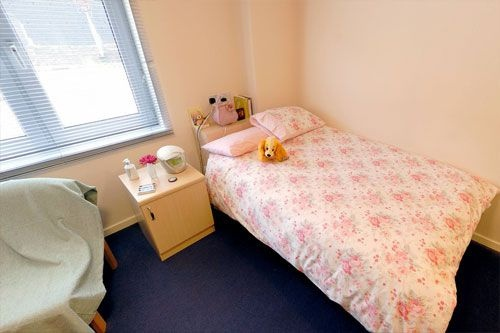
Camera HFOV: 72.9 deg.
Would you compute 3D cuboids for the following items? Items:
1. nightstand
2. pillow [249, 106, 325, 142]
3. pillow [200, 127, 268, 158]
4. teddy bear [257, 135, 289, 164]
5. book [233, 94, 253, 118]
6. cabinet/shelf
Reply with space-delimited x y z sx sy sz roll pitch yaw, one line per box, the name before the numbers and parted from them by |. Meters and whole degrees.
nightstand | -0.807 0.430 3.399 0.706 0.657 0.693 -22 25 -23
pillow | 0.430 -0.498 3.587 0.564 0.152 0.438 -19 43 -33
pillow | -0.079 -0.256 3.383 0.502 0.118 0.310 -22 32 -38
teddy bear | 0.203 -0.150 3.144 0.201 0.158 0.261 6 45 11
book | -0.070 -0.678 3.831 0.239 0.226 0.085 30 47 34
cabinet/shelf | -0.307 -0.322 3.518 0.668 0.624 0.221 -29 43 -26
